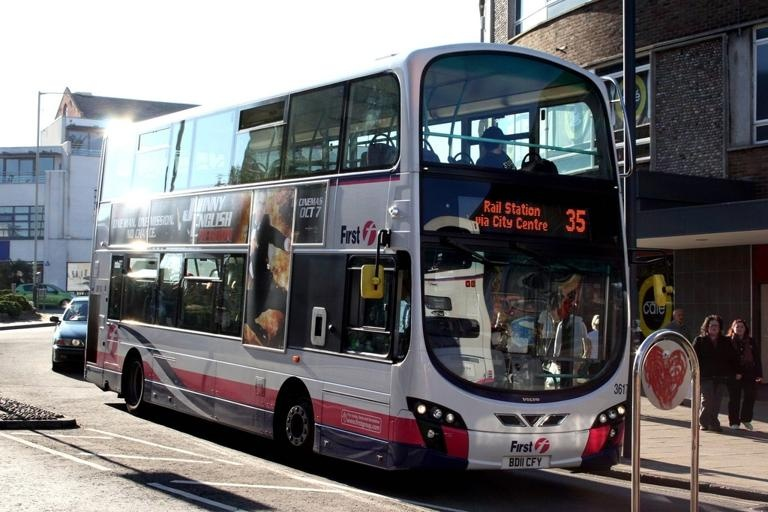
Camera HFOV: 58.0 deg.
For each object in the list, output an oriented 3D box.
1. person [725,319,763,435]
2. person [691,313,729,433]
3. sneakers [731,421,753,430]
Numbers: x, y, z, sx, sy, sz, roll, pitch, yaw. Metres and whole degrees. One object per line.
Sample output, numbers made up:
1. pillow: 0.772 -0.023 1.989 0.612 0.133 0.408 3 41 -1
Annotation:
1. person: 7.791 2.545 15.020 0.618 2.301 0.846 0 -2 28
2. person: 6.978 2.487 14.807 0.967 2.370 0.575 2 -2 -39
3. sneakers: 7.675 3.639 14.900 0.134 0.169 0.393 4 -1 -31
